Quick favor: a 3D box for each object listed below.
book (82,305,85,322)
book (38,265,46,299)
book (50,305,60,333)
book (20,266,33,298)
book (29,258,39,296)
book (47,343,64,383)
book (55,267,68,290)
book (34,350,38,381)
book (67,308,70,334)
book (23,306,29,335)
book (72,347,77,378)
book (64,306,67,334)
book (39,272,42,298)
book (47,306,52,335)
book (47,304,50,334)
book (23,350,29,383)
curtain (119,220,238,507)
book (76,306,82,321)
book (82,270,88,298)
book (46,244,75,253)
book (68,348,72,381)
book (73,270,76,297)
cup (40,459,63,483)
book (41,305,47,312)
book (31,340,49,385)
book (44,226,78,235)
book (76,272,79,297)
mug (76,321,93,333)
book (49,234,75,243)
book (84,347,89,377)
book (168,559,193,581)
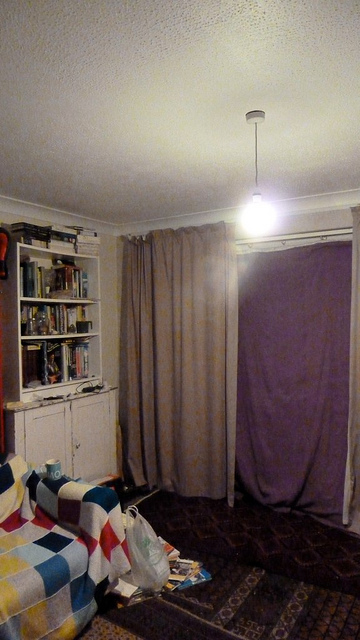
[{"bbox_3d":[-0.759,-0.052,3.877,0.025,0.128,0.105,-1,1,-11],"label":"book"},{"bbox_3d":[-0.963,-0.263,3.444,0.034,0.216,0.097,-1,1,2],"label":"book"},{"bbox_3d":[-0.883,-0.020,3.528,0.028,0.136,0.127,-5,-13,-8],"label":"book"},{"bbox_3d":[-1.023,-0.253,3.241,0.097,0.204,0.189,-2,2,-21],"label":"book"},{"bbox_3d":[-1.011,-0.295,3.404,0.056,0.262,0.269,-1,1,-16],"label":"book"},{"bbox_3d":[-0.887,0.299,3.461,0.043,0.370,0.260,-1,0,12],"label":"book"},{"bbox_3d":[-0.871,-0.306,3.619,0.082,0.157,0.042,-1,1,-14],"label":"book"},{"bbox_3d":[-0.981,0.307,3.340,0.014,0.204,0.037,0,1,29],"label":"book"},{"bbox_3d":[-0.835,0.007,3.669,0.017,0.177,0.047,-1,1,-13],"label":"book"},{"bbox_3d":[-1.021,0.008,3.255,0.032,0.179,0.066,-1,1,-22],"label":"book"},{"bbox_3d":[-0.794,0.322,3.680,0.020,0.225,0.052,0,1,21],"label":"book"},{"bbox_3d":[-0.846,0.002,3.632,0.016,0.194,0.057,-1,1,-5],"label":"book"},{"bbox_3d":[-0.968,-0.242,3.393,0.009,0.169,0.033,-1,1,5],"label":"book"},{"bbox_3d":[-0.917,0.004,3.464,0.024,0.190,0.074,-1,1,-7],"label":"book"},{"bbox_3d":[-0.923,0.004,3.447,0.012,0.188,0.050,-1,1,-6],"label":"book"},{"bbox_3d":[-1.022,0.310,3.262,0.016,0.223,0.062,-1,1,10],"label":"book"},{"bbox_3d":[-0.056,0.368,3.883,0.896,2.194,0.171,-1,15,3],"label":"curtain"},{"bbox_3d":[-0.790,-0.045,3.820,0.033,0.109,0.105,1,2,-1],"label":"book"},{"bbox_3d":[-0.748,-0.287,3.866,0.040,0.216,0.097,-1,1,-10],"label":"book"},{"bbox_3d":[-0.847,-0.507,3.516,0.036,0.043,0.321,0,2,23],"label":"book"},{"bbox_3d":[-0.814,0.332,3.628,0.015,0.228,0.048,-1,1,8],"label":"book"},{"bbox_3d":[-0.800,-0.275,3.714,0.015,0.205,0.053,-1,1,4],"label":"book"},{"bbox_3d":[-0.646,0.768,2.526,0.119,0.116,0.076,0,1,-43],"label":"cup"},{"bbox_3d":[-0.945,-0.076,3.404,0.033,0.070,0.036,-5,-9,6],"label":"book"},{"bbox_3d":[-0.961,0.299,3.350,0.136,0.283,0.270,0,1,2],"label":"book"},{"bbox_3d":[-0.848,-0.650,3.561,0.015,0.036,0.224,-4,-6,31],"label":"book"},{"bbox_3d":[-0.787,-0.270,3.759,0.011,0.182,0.046,-1,1,9],"label":"book"},{"bbox_3d":[-0.735,0.056,3.777,0.062,0.121,0.117,-5,-4,40],"label":"mug"},{"bbox_3d":[-0.851,-0.584,3.558,0.032,0.043,0.249,0,2,25],"label":"book"},{"bbox_3d":[-0.724,0.324,3.800,0.015,0.222,0.055,-1,1,13],"label":"book"},{"bbox_3d":[0.001,1.346,2.631,0.083,0.026,0.144,3,7,14],"label":"book"}]
